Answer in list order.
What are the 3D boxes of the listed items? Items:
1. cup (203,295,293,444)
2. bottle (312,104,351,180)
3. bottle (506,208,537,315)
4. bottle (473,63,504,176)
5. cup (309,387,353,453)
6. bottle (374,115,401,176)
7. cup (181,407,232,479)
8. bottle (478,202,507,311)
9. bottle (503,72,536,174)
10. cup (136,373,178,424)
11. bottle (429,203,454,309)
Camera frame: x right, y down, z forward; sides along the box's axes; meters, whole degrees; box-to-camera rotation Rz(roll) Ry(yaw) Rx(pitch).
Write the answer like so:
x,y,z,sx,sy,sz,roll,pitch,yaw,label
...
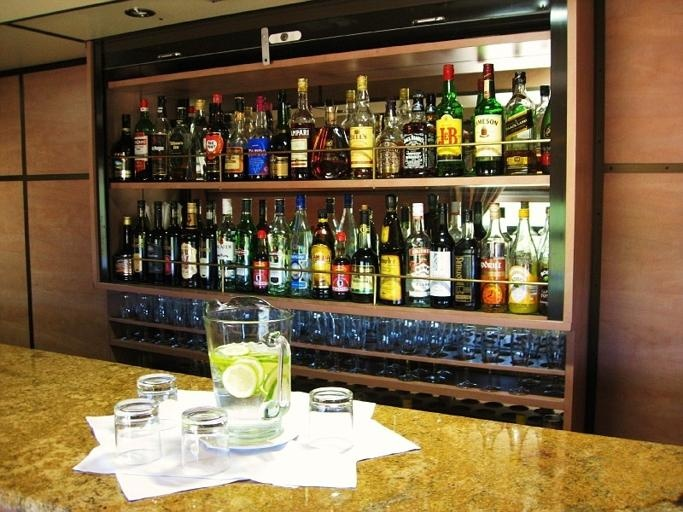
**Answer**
x,y,z,sx,sy,sz,roll,pitch,yaw,label
-0.188,0.233,1.260,0.171,0.264,0.218,-3,14,-11,cup
-0.038,-0.415,2.222,0.136,0.259,0.220,0,14,1,bottle
0.614,-0.010,2.007,0.102,0.350,0.362,4,14,16,bottle
0.488,-0.444,1.976,0.105,0.354,0.251,3,15,13,bottle
-0.018,0.318,1.199,0.141,0.113,0.119,0,-3,-1,cup
0.167,-0.377,2.113,0.091,0.204,0.186,1,14,4,bottle
-0.280,0.365,1.168,0.121,0.099,0.101,-2,-12,-2,cup
0.501,0.001,1.966,0.097,0.352,0.206,3,15,13,bottle
0.584,-0.428,1.963,0.109,0.321,0.348,4,14,14,bottle
-0.368,0.310,1.331,0.117,0.095,0.099,0,0,-3,cup
0.342,-0.003,2.035,0.083,0.342,0.178,2,15,8,bottle
